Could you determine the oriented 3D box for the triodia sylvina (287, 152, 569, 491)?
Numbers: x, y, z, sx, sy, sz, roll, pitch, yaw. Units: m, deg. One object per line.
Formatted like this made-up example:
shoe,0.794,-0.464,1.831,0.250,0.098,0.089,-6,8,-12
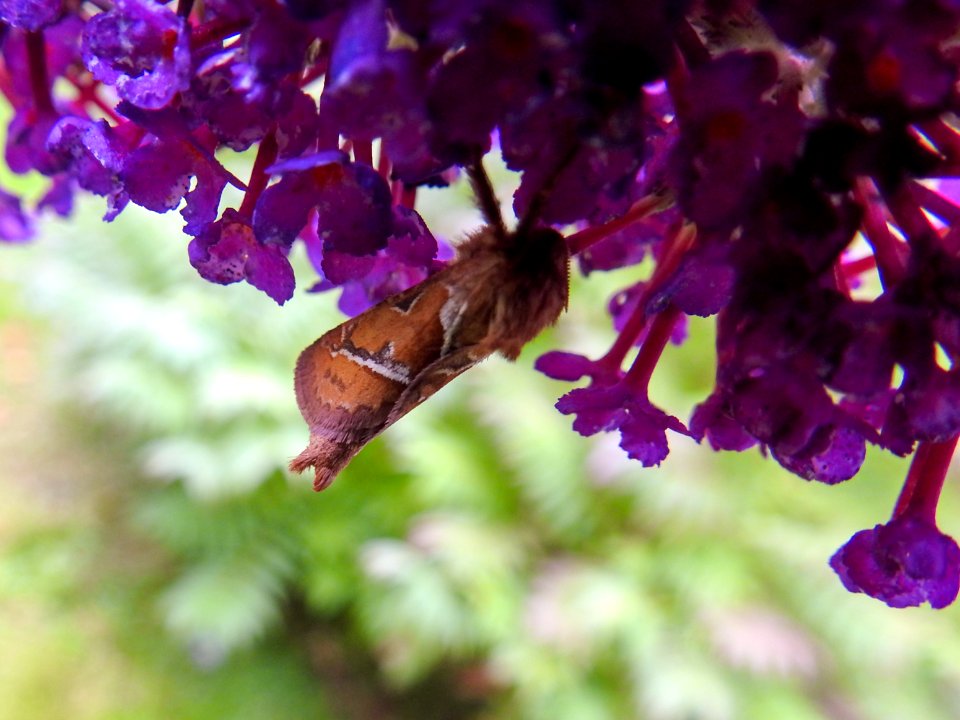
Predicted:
triodia sylvina,-0.098,-0.039,2.127,0.072,0.918,0.693,25,-56,25
